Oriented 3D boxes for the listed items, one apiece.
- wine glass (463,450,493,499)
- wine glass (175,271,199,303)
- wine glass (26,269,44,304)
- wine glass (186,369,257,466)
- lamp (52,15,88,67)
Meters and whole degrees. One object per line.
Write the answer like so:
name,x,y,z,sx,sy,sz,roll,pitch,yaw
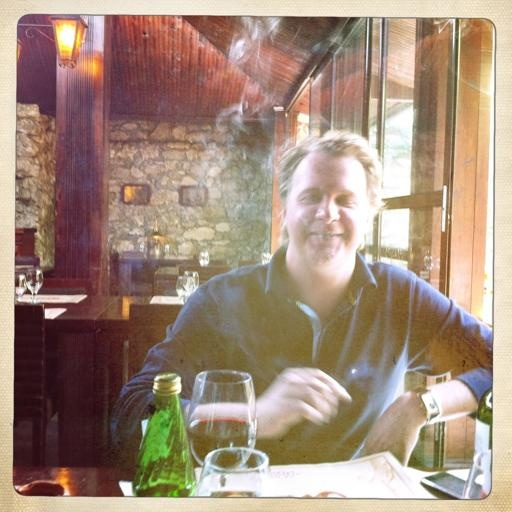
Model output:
wine glass,0.463,0.455,1.205,0.046,0.108,0.023,-2,-24,35
wine glass,-0.144,0.064,1.221,0.047,0.067,0.032,0,-3,-6
wine glass,-0.457,0.058,1.199,0.021,0.069,0.065,0,-3,-2
wine glass,-0.071,0.323,1.215,0.136,0.234,0.160,2,-6,-18
lamp,-0.379,-0.438,1.191,0.063,0.138,0.083,1,5,-2
